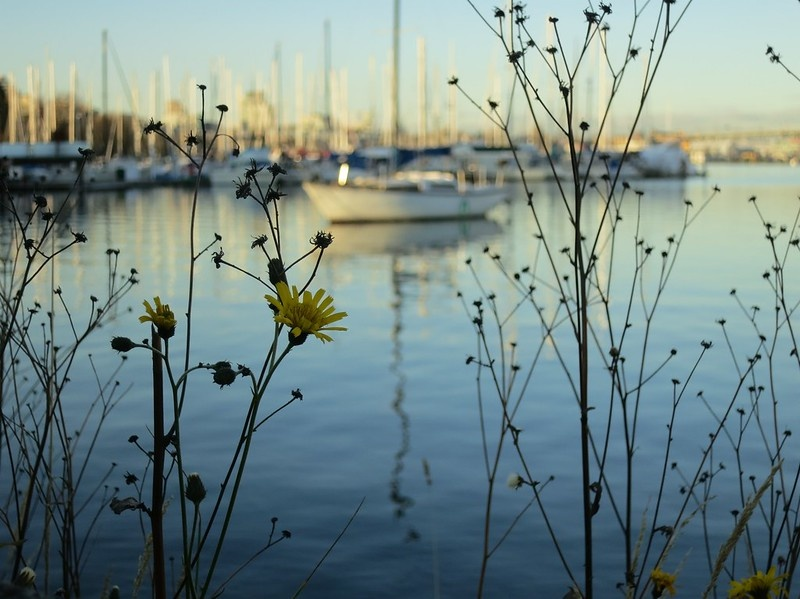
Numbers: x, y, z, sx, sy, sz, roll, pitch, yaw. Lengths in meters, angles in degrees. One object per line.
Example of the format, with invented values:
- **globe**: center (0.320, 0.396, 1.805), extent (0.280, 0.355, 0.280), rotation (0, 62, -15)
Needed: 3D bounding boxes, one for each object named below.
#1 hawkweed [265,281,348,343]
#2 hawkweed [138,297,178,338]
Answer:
- **hawkweed**: center (-0.515, 0.094, 7.237), extent (0.436, 0.238, 0.505), rotation (16, 12, 10)
- **hawkweed**: center (-1.253, 0.116, 7.310), extent (0.264, 0.190, 0.279), rotation (6, -2, -34)
